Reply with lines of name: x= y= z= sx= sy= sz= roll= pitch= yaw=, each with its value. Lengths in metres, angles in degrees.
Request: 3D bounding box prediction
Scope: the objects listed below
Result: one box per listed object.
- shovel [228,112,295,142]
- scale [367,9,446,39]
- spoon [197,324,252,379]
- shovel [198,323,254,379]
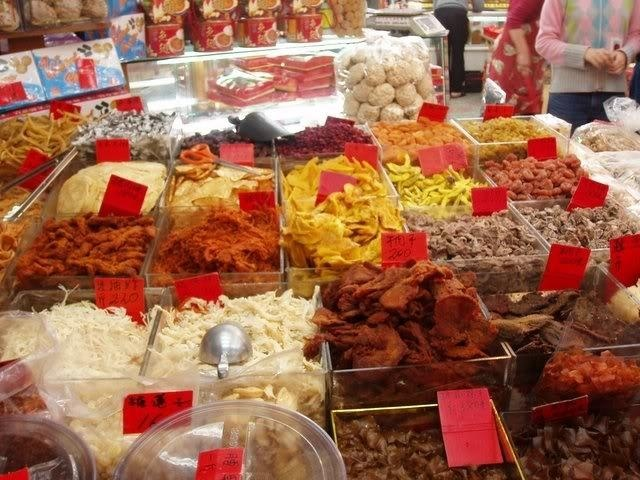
shovel: x=-0.384 y=-0.736 z=2.884 sx=0.354 sy=0.134 sz=0.208 roll=14 pitch=40 yaw=20
scale: x=0.780 y=-2.016 z=4.050 sx=0.694 sy=0.193 sz=0.464 roll=23 pitch=42 yaw=32
spoon: x=-0.343 y=0.381 z=1.579 sx=0.181 sy=0.112 sz=0.342 roll=-1 pitch=16 yaw=-9
shovel: x=-0.344 y=0.379 z=1.584 sx=0.189 sy=0.123 sz=0.353 roll=0 pitch=15 yaw=-10
